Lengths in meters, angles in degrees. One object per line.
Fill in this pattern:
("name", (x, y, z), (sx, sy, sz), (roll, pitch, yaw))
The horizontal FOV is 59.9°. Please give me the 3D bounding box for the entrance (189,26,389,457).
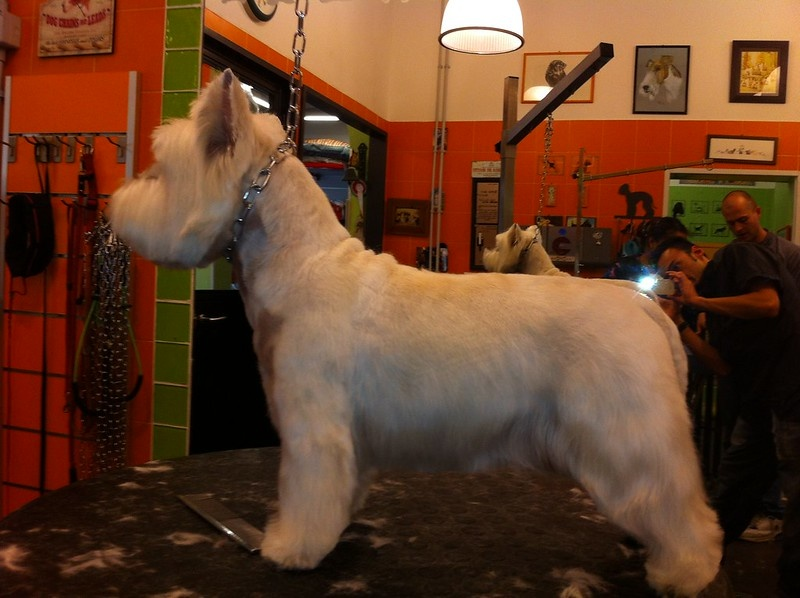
("entrance", (-0.748, -0.220, 3.949), (0.216, 2.100, 2.221), (8, 2, 21))
